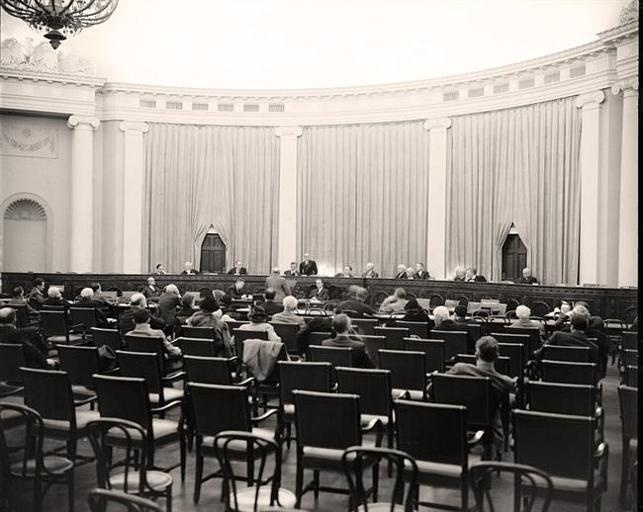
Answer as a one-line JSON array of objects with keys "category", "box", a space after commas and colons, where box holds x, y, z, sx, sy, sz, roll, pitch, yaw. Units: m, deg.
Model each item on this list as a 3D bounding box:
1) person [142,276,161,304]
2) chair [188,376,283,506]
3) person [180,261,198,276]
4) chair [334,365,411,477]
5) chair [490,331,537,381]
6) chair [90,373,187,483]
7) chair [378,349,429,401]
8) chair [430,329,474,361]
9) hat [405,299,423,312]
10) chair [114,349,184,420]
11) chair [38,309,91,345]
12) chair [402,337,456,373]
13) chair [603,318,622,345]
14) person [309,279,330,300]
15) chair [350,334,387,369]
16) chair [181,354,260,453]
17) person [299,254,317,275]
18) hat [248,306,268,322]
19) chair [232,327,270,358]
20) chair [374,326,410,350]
[{"category": "person", "box": [-4.114, 0.837, 15.585, 0.243, 0.831, 0.421, -10, -4, 32]}, {"category": "chair", "box": [-0.856, 1.761, 6.041, 0.769, 1.018, 0.795, 6, -9, -30]}, {"category": "person", "box": [-3.889, 0.391, 18.800, 0.385, 0.435, 1.429, 2, -3, -12]}, {"category": "chair", "box": [0.536, 1.563, 6.688, 0.600, 0.992, 0.708, 0, 8, 16]}, {"category": "chair", "box": [2.435, 1.428, 8.395, 0.393, 0.632, 0.377, -2, 8, -13]}, {"category": "chair", "box": [-1.755, 1.695, 6.313, 0.686, 1.183, 0.752, 1, 3, 11]}, {"category": "chair", "box": [0.960, 1.374, 7.683, 0.471, 0.794, 0.540, 1, 1, 26]}, {"category": "chair", "box": [1.842, 1.203, 9.033, 0.373, 0.582, 0.426, 2, 10, 27]}, {"category": "hat", "box": [1.542, 0.831, 10.696, 0.213, 0.215, 0.195, -2, -2, 10]}, {"category": "chair", "box": [-1.963, 1.536, 7.388, 0.610, 1.018, 0.671, 1, 5, 20]}, {"category": "chair", "box": [-4.365, 1.348, 10.876, 0.704, 0.924, 0.776, 0, 3, -16]}, {"category": "chair", "box": [1.417, 1.242, 8.444, 0.397, 0.627, 0.475, 1, 5, 31]}, {"category": "chair", "box": [5.588, 1.445, 12.149, 0.304, 0.490, 1.706, 0, -4, 25]}, {"category": "person", "box": [-0.080, 0.877, 16.197, 0.481, 0.787, 0.416, -6, -14, 29]}, {"category": "chair", "box": [0.576, 1.192, 7.930, 0.281, 0.543, 0.308, 9, 34, 26]}, {"category": "chair", "box": [-1.316, 1.514, 7.336, 0.714, 1.153, 0.814, 0, 1, 17]}, {"category": "person", "box": [-0.396, 0.289, 19.749, 0.461, 1.069, 0.388, -5, -12, 20]}, {"category": "hat", "box": [-0.866, 0.793, 8.697, 0.221, 0.249, 0.208, 2, -3, 27]}, {"category": "chair", "box": [-0.958, 1.154, 8.537, 0.307, 0.478, 0.439, 4, 7, 19]}, {"category": "chair", "box": [1.023, 1.157, 9.252, 0.305, 0.474, 0.351, 2, 3, 28]}]
